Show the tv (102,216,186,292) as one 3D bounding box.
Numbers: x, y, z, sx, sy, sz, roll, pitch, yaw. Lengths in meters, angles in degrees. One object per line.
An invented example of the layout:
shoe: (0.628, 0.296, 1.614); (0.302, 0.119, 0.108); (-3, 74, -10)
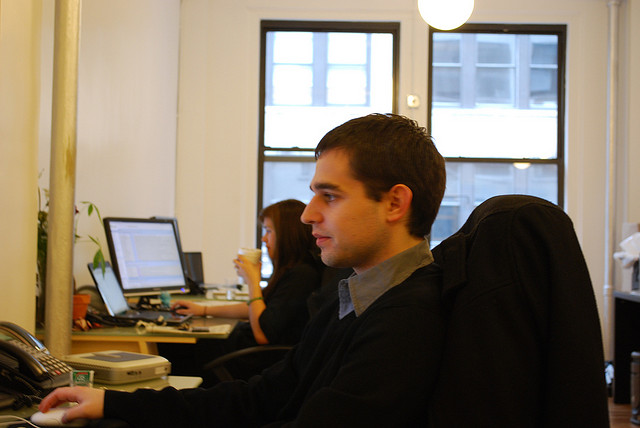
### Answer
tv: (-1.075, 0.261, 3.589); (0.076, 0.473, 0.701); (-12, -6, 18)

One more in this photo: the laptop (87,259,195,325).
laptop: (-0.914, 0.471, 3.067); (0.432, 0.450, 0.266); (-11, -10, 10)

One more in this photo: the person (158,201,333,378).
person: (-0.353, 0.537, 3.524); (0.763, 1.279, 0.561); (13, 24, 9)

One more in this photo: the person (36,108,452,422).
person: (-0.027, 0.270, 2.313); (1.397, 1.388, 0.870); (2, -6, 3)

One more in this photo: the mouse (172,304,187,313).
mouse: (-0.815, 0.540, 3.363); (0.074, 0.040, 0.038); (-1, 0, -20)

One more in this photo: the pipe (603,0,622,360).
pipe: (2.723, -0.355, 5.391); (0.156, 3.342, 0.664); (0, 5, 28)

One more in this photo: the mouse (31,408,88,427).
mouse: (-0.836, 0.646, 1.855); (0.107, 0.028, 0.074); (7, -4, -1)

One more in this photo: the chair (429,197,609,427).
chair: (0.541, 0.258, 1.637); (0.468, 0.602, 0.247); (-2, 4, 9)
